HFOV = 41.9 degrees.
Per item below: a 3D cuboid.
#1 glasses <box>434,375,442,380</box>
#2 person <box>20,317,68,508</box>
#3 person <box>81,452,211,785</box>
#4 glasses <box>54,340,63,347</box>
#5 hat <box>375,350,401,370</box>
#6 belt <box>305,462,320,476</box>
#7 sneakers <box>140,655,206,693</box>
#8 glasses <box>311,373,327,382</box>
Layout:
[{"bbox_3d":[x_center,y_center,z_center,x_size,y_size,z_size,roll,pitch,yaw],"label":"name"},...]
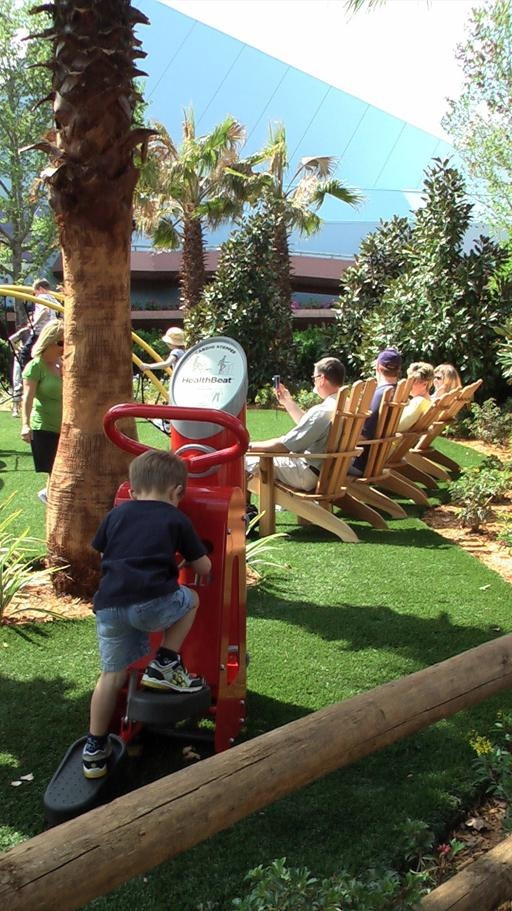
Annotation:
[{"bbox_3d":[2.097,-0.898,7.704,0.053,0.055,0.025,7,2,24],"label":"glasses"},{"bbox_3d":[-1.639,-0.462,5.163,0.284,1.189,0.399,4,6,-19],"label":"person"},{"bbox_3d":[-0.337,0.494,2.122,0.373,1.008,0.270,4,5,-13],"label":"person"},{"bbox_3d":[-1.488,-0.855,5.080,0.052,0.047,0.127,4,5,-16],"label":"glasses"},{"bbox_3d":[1.242,-0.918,6.326,0.265,0.191,0.423,8,11,2],"label":"hat"},{"bbox_3d":[0.471,0.102,5.464,0.110,0.120,0.097,6,11,33],"label":"belt"},{"bbox_3d":[-0.254,0.682,2.096,0.211,0.107,0.081,8,-5,-32],"label":"sneakers"},{"bbox_3d":[0.511,-0.643,5.408,0.112,0.033,0.110,1,2,-6],"label":"glasses"}]
